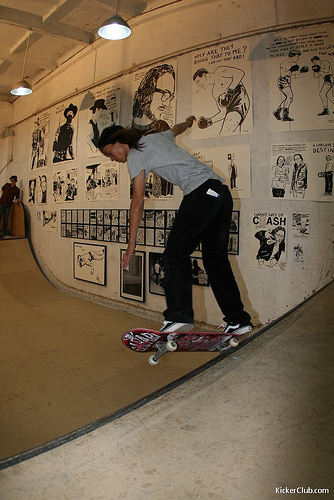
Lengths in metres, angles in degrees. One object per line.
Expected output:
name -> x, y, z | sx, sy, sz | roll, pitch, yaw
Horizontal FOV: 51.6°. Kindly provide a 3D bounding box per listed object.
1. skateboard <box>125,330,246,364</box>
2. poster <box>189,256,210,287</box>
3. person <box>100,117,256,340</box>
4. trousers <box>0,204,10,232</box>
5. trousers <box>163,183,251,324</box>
skateboard -> 0.204, 0.539, 2.112 | 0.882, 0.276, 0.134 | 6, 33, -21
poster -> 0.308, 0.201, 3.164 | 0.014, 0.368, 0.362 | 0, 1, -26
person -> 0.006, -0.268, 2.488 | 0.899, 1.713, 0.802 | -5, -9, 3
trousers -> -3.512, -0.704, 7.538 | 0.163, 0.651, 0.160 | -6, 2, 37
trousers -> 0.202, 0.042, 2.146 | 0.551, 0.815, 0.194 | -8, 2, -20
